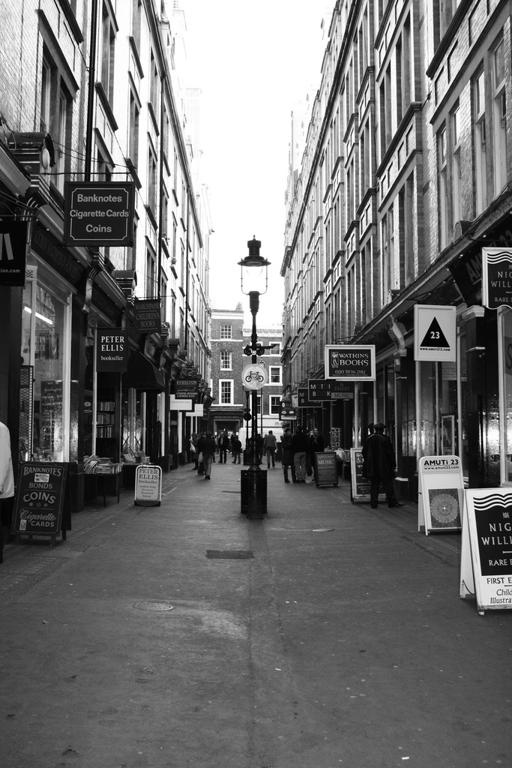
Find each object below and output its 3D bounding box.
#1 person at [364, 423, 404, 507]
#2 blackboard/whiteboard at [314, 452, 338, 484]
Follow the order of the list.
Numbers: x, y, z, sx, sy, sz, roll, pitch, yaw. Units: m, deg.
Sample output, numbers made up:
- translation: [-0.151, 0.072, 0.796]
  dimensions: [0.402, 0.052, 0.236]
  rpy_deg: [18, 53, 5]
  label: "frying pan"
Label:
- translation: [2.639, 1.754, 16.810]
  dimensions: [0.720, 1.761, 1.591]
  rpy_deg: [-2, -6, 12]
  label: "person"
- translation: [2.054, 2.603, 23.604]
  dimensions: [0.591, 1.695, 0.677]
  rpy_deg: [1, -1, -11]
  label: "blackboard/whiteboard"
